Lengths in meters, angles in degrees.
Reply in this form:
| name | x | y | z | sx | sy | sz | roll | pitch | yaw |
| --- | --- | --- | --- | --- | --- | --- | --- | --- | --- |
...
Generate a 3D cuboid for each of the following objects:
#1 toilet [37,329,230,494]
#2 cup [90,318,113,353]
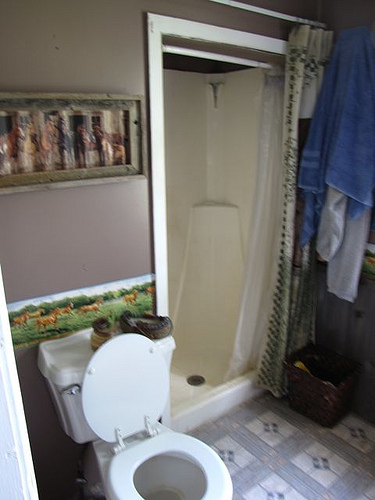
| name | x | y | z | sx | sy | sz | roll | pitch | yaw |
| --- | --- | --- | --- | --- | --- | --- | --- | --- | --- |
| toilet | -0.216 | 0.628 | 1.410 | 0.354 | 0.590 | 0.642 | -18 | 31 | -35 |
| cup | -0.324 | 0.289 | 1.360 | 0.089 | 0.156 | 0.095 | 6 | 19 | -2 |
